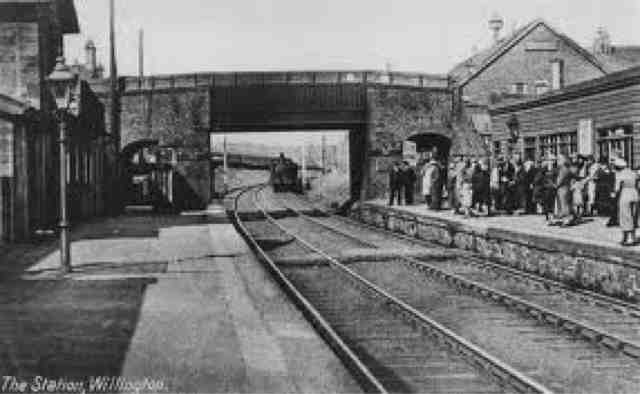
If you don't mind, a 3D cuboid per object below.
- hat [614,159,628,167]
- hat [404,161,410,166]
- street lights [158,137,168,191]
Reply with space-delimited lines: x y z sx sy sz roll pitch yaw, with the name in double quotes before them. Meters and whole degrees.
"hat" 8.677 -0.980 19.036 0.310 0.244 0.235 5 8 23
"hat" 3.994 -1.521 30.090 0.322 0.320 0.188 -1 -3 4
"street lights" -7.403 -1.786 31.651 0.384 1.704 0.343 -4 -3 -13
